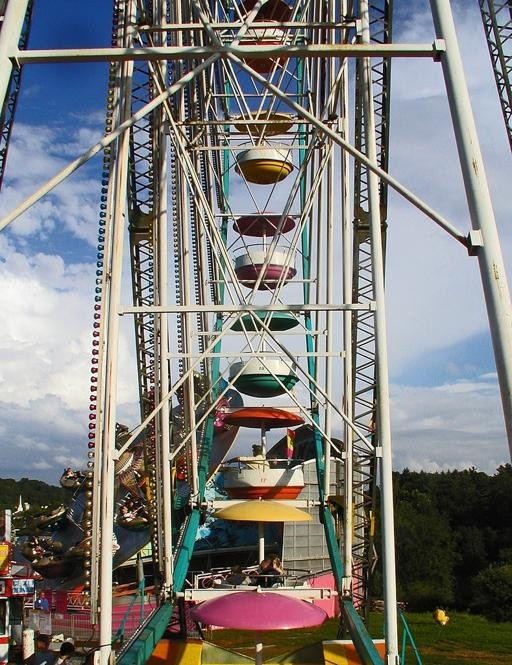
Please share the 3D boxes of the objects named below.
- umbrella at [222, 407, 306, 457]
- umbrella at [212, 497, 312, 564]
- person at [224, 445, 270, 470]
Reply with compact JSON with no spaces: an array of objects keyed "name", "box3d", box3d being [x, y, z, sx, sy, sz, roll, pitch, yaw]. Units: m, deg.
[{"name":"umbrella","box3d":[0.188,2.321,19.854,1.738,1.146,2.011,-10,-18,16]},{"name":"umbrella","box3d":[0.040,3.380,14.931,1.600,1.048,1.728,-3,-14,19]},{"name":"person","box3d":[-0.081,2.829,18.178,0.681,0.607,1.006,-5,-17,2]}]
